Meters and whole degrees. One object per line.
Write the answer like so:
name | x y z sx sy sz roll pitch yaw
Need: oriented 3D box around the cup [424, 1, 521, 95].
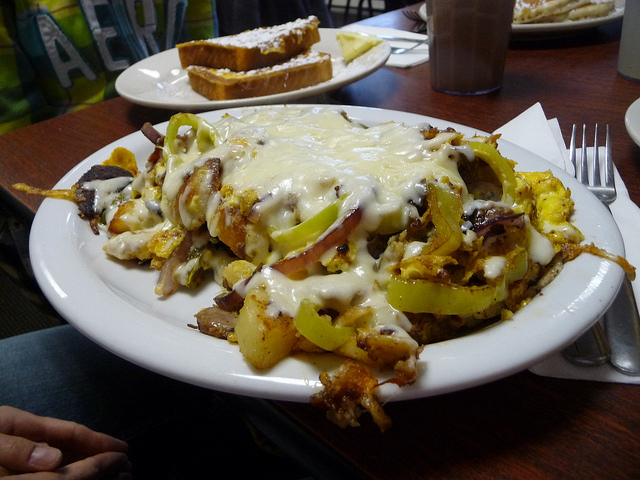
cup | 0.569 -0.809 2.236 0.354 0.399 0.354 -1 29 1

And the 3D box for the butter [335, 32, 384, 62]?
butter | 0.154 -0.859 2.452 0.175 0.060 0.142 21 45 39

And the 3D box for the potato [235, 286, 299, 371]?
potato | -0.090 0.196 1.278 0.161 0.089 0.250 -8 10 -18

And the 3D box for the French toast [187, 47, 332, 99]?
French toast | -0.223 -0.646 2.227 0.322 0.087 0.343 -15 25 -21

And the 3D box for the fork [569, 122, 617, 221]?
fork | 0.846 -0.365 1.753 0.081 0.092 0.752 5 50 16

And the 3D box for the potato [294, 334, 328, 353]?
potato | -0.028 0.227 1.214 0.052 0.018 0.039 12 15 27

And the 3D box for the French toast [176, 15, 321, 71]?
French toast | -0.227 -0.843 2.393 0.384 0.122 0.380 -25 29 -36

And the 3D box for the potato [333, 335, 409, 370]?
potato | 0.109 0.229 1.185 0.162 0.059 0.051 10 46 18
